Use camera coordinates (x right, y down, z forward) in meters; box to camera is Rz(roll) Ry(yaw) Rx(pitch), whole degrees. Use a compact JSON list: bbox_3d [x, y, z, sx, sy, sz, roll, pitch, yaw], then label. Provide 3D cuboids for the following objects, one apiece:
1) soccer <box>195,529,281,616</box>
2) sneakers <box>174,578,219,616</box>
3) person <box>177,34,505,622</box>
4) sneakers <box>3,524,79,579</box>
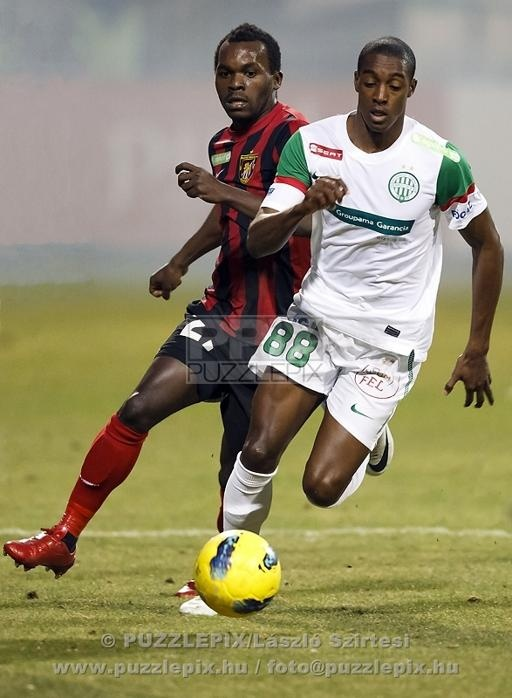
[{"bbox_3d":[-0.054,0.743,2.751,0.289,0.244,0.243,-3,7,-9],"label":"soccer"},{"bbox_3d":[-0.256,0.982,3.306,0.117,0.060,0.172,-6,14,-17],"label":"sneakers"},{"bbox_3d":[0.398,-0.067,2.982,0.988,1.564,0.533,2,2,-1],"label":"person"},{"bbox_3d":[-0.805,0.763,3.216,0.357,0.199,0.132,21,15,-45],"label":"sneakers"}]
